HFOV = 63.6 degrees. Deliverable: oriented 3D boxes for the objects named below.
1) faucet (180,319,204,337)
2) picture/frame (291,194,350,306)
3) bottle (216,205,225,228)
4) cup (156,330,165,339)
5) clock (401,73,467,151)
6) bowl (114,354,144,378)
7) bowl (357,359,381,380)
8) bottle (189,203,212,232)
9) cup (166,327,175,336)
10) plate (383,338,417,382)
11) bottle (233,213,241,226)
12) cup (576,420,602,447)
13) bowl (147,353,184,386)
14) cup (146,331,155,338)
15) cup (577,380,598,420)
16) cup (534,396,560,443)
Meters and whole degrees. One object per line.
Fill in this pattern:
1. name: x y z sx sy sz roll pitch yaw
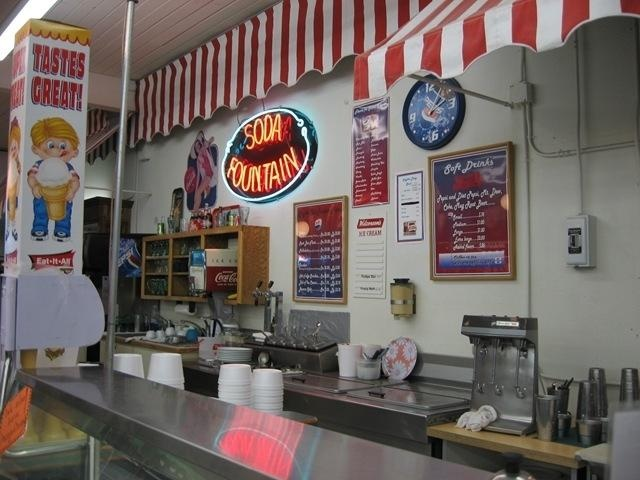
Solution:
1. faucet: -1.401 0.959 5.621 0.244 0.280 0.152 -1 -2 -17
2. picture/frame: 0.023 0.098 4.517 0.046 1.266 0.844 6 -9 -41
3. bottle: -1.081 -0.259 5.509 0.128 0.197 0.429 -2 -1 -12
4. cup: -1.685 0.991 5.433 0.078 0.086 0.084 5 -6 0
5. clock: 0.842 -0.925 3.718 0.583 0.646 0.098 -1 -3 44
6. bowl: -0.873 0.566 2.335 0.122 0.090 0.100 -2 -1 -24
7. bowl: 0.358 0.947 3.774 0.148 0.112 0.126 -6 -11 29
8. bottle: -1.309 -0.252 5.677 0.143 0.317 0.297 8 -9 -43
9. cup: -1.599 0.961 5.475 0.077 0.078 0.076 5 3 0
10. plate: 0.583 0.879 3.829 0.109 0.312 0.288 -2 -1 -34
11. bottle: -0.842 -0.217 5.214 0.079 0.098 0.057 -2 -1 -3
12. cup: 1.345 0.972 2.593 0.098 0.105 0.120 1 -9 0
13. bowl: -0.698 0.599 2.329 0.147 0.138 0.299 -2 -1 -20
14. cup: -1.833 1.021 5.568 0.067 0.072 0.071 0 -10 0
15. cup: 1.421 0.857 2.721 0.108 0.225 0.105 -2 -1 0
16. cup: 1.168 0.917 2.651 0.104 0.248 0.116 -3 -1 24
